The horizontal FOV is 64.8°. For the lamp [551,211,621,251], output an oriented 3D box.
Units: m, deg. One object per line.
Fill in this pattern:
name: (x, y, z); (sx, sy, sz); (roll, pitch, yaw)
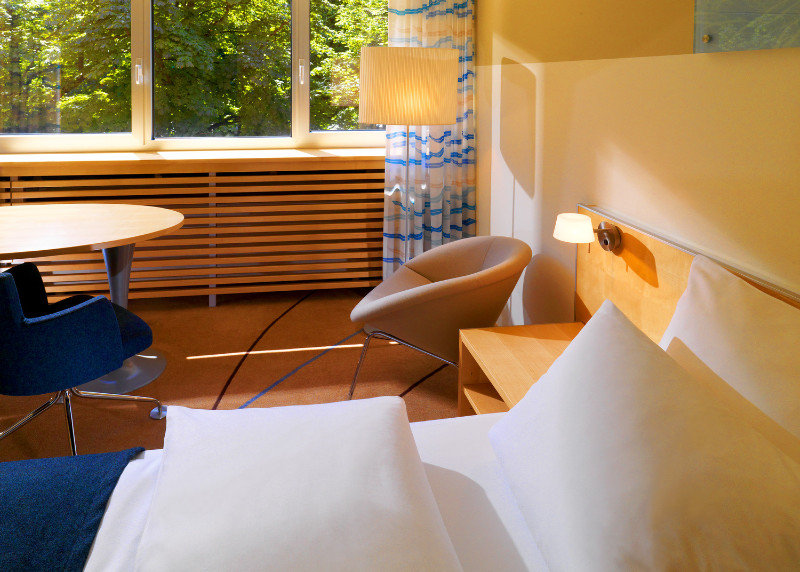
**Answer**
lamp: (0.804, -0.225, 2.769); (0.249, 0.134, 0.160); (-1, -4, -15)

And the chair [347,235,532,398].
chair: (0.203, 0.148, 3.479); (0.917, 0.870, 0.957); (7, 18, 12)
